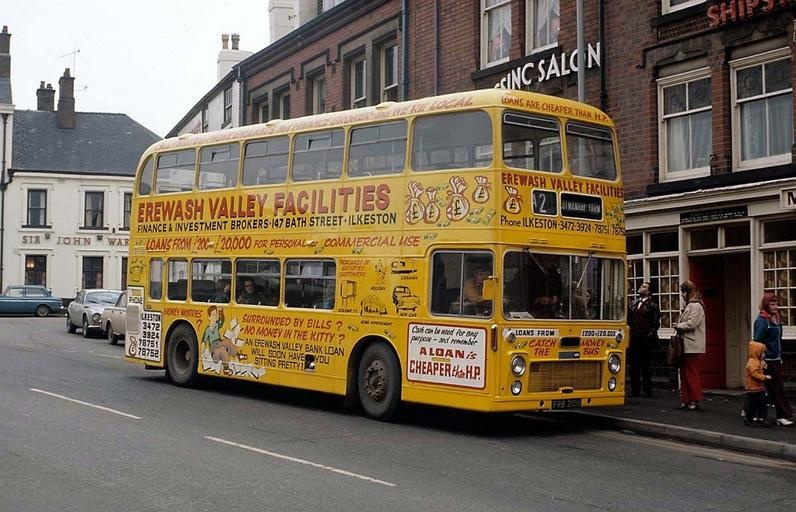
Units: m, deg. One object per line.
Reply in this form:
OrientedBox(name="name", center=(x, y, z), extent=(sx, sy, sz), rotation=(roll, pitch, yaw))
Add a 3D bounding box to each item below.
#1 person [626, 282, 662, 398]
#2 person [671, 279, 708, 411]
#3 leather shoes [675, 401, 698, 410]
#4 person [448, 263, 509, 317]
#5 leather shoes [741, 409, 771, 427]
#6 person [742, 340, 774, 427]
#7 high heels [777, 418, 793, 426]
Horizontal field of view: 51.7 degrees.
OrientedBox(name="person", center=(5.746, 2.004, 19.445), extent=(0.684, 2.652, 0.815), rotation=(3, 4, 27))
OrientedBox(name="person", center=(6.213, 1.913, 17.590), extent=(0.588, 2.667, 0.757), rotation=(2, 3, 18))
OrientedBox(name="leather shoes", center=(6.167, 3.199, 17.465), extent=(0.488, 0.202, 0.178), rotation=(5, -4, -10))
OrientedBox(name="person", center=(1.470, 0.645, 15.400), extent=(0.606, 0.667, 0.957), rotation=(6, -8, -33))
OrientedBox(name="leather shoes", center=(6.960, 3.138, 15.847), extent=(0.651, 0.299, 0.229), rotation=(-8, -6, 15))
OrientedBox(name="person", center=(6.871, 2.453, 15.800), extent=(0.438, 1.576, 0.477), rotation=(2, 4, 25))
OrientedBox(name="high heels", center=(7.356, 3.179, 15.715), extent=(0.291, 0.124, 0.116), rotation=(-2, -1, 27))
